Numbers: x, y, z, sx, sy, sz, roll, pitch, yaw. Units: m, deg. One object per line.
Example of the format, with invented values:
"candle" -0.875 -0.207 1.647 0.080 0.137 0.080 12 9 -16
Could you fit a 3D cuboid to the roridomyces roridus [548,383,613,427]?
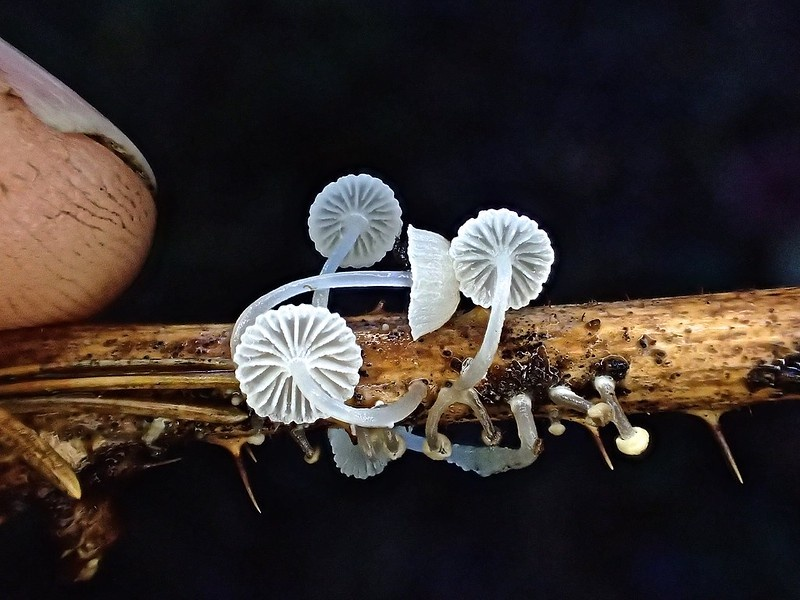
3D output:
"roridomyces roridus" 0.731 0.431 3.740 0.268 0.104 0.123 25 -5 21
